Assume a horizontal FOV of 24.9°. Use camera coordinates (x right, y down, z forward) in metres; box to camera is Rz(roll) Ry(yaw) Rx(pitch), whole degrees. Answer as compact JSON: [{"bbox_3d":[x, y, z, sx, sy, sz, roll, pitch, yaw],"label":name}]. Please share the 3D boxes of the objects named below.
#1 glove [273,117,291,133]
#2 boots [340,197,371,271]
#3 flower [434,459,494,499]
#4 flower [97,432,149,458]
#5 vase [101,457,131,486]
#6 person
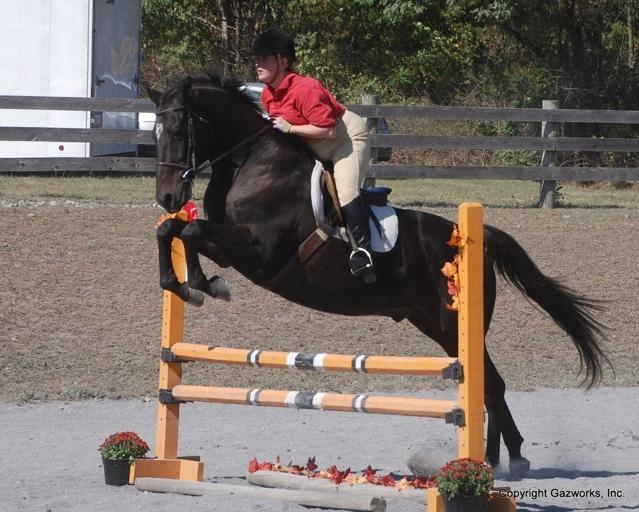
[{"bbox_3d":[-0.382,-1.381,15.091,0.235,0.151,0.071,8,12,36],"label":"glove"},{"bbox_3d":[0.415,-0.237,15.071,0.394,0.723,0.335,-7,14,-32],"label":"boots"},{"bbox_3d":[1.500,2.221,14.759,0.567,0.364,0.665,0,9,6],"label":"flower"},{"bbox_3d":[-2.057,1.993,15.217,0.349,0.197,0.319,2,4,7],"label":"flower"},{"bbox_3d":[-2.136,2.256,15.128,0.298,0.220,0.306,1,-9,0],"label":"vase"},{"bbox_3d":[-0.033,-1.122,15.397,1.366,2.618,0.980,-16,10,-35],"label":"person"}]
